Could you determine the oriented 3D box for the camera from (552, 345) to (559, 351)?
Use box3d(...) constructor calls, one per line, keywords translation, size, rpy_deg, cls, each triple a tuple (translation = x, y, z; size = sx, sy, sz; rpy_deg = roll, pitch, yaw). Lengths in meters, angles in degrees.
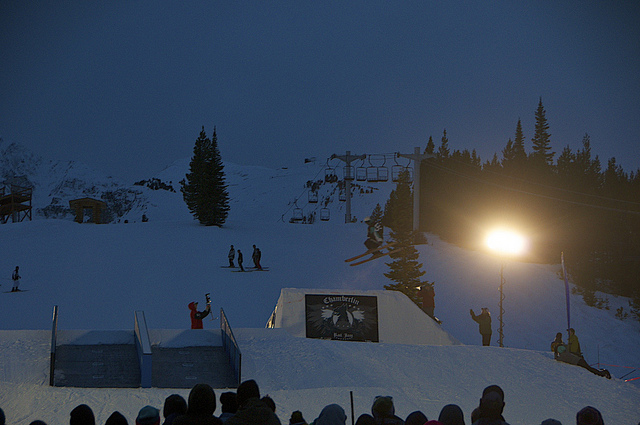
box3d(translation=(17.254, 9.900, 77.055), size=(0.323, 0.265, 0.257), rpy_deg=(-9, 5, -13), cls="camera")
